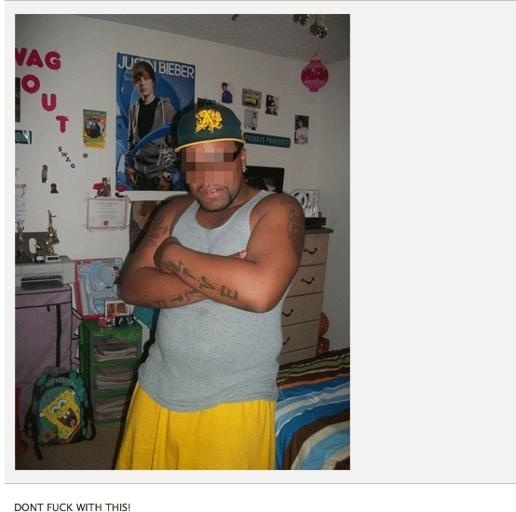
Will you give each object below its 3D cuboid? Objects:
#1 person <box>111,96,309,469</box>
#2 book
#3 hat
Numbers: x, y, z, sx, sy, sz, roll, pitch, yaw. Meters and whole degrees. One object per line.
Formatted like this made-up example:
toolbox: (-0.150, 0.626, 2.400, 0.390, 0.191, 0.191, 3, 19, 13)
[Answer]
person: (-0.165, 0.219, 1.396, 0.600, 0.940, 0.375, 0, -7, 6)
book: (-0.942, 0.802, 3.161, 0.315, 0.633, 0.472, 1, 7, -22)
hat: (-0.142, -0.374, 1.343, 0.200, 0.148, 0.106, 1, -7, -3)
